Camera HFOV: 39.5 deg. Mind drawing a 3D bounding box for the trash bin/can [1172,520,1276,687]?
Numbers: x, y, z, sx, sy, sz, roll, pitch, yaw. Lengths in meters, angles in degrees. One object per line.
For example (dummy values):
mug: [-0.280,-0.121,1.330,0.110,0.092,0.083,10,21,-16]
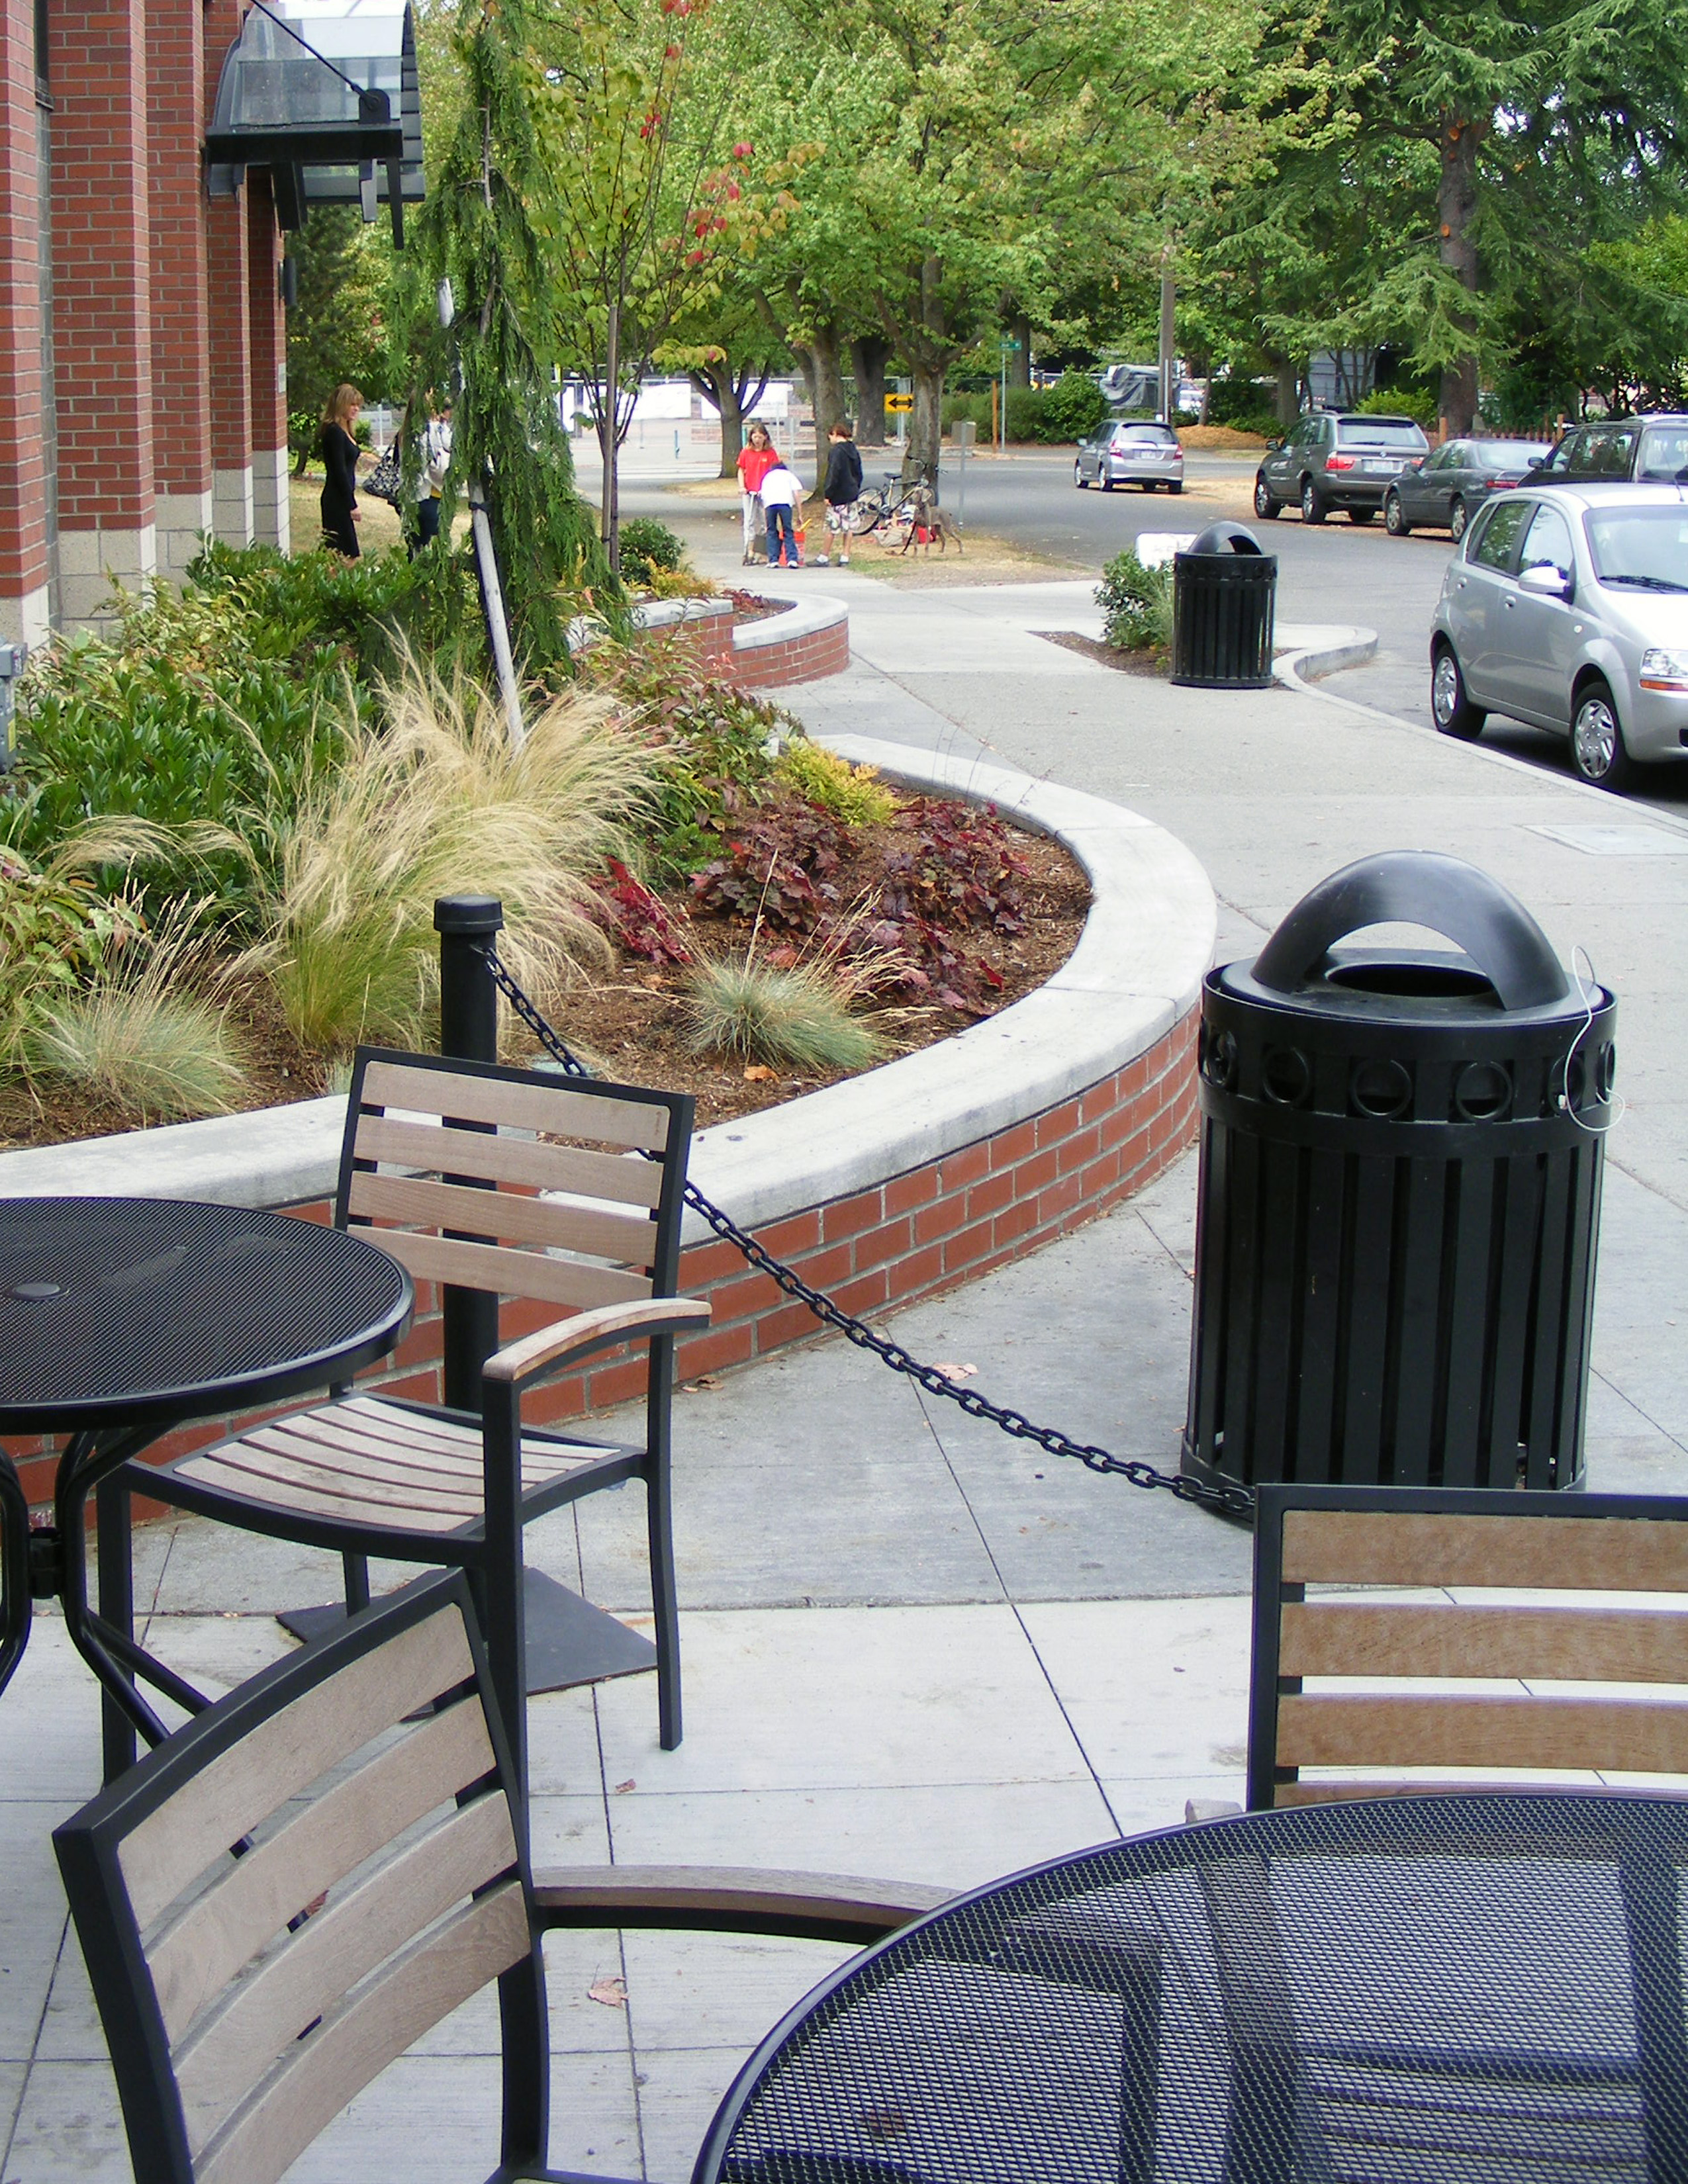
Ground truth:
trash bin/can: [2.874,-3.682,17.838,0.729,1.218,0.810,2,12,7]
